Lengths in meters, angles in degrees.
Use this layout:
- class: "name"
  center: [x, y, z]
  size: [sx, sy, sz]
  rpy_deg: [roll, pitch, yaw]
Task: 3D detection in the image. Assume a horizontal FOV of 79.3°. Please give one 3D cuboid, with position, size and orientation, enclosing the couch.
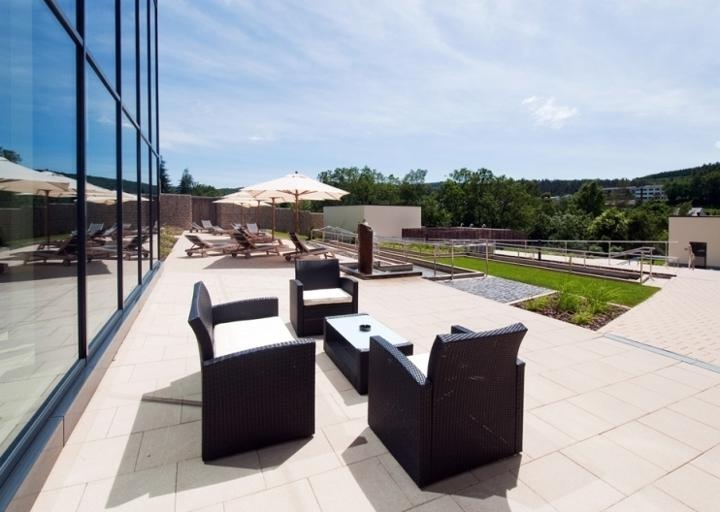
- class: "couch"
  center: [-1.148, 0.936, 4.370]
  size: [1.016, 1.150, 1.782]
  rpy_deg: [-3, 9, -23]

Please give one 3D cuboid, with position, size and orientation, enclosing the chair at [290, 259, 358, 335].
- class: "chair"
  center: [-0.531, 0.539, 6.067]
  size: [0.850, 0.977, 0.724]
  rpy_deg: [-2, 5, -23]

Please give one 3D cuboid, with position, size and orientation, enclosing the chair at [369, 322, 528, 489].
- class: "chair"
  center: [0.779, 1.077, 3.850]
  size: [1.152, 1.221, 1.153]
  rpy_deg: [-6, 9, -29]

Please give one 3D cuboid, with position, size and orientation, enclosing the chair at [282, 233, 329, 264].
- class: "chair"
  center: [-1.516, -0.176, 12.130]
  size: [1.218, 0.803, 0.920]
  rpy_deg: [-2, 6, -19]

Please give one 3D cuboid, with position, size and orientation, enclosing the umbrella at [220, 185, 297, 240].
- class: "umbrella"
  center: [-4.015, -1.749, 17.175]
  size: [2.031, 1.559, 2.311]
  rpy_deg: [0, 1, 7]
